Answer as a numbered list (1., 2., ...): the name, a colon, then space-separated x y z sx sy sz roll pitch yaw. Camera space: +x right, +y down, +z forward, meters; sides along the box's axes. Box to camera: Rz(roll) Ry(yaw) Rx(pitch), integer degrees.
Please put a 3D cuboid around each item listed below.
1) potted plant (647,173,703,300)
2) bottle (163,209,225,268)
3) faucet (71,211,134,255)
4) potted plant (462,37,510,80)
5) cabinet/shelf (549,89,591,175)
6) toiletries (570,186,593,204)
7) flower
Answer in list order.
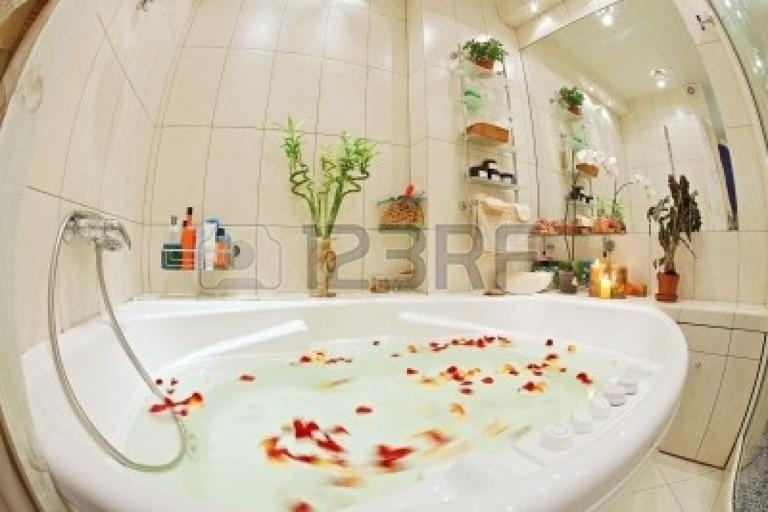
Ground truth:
1. potted plant: 1.398 -0.089 2.123 0.249 0.603 0.241 2 4 22
2. bottle: -0.892 -0.073 2.008 0.275 0.271 0.147 -1 1 -25
3. faucet: -0.674 -0.066 1.019 0.102 0.064 0.051 3 -13 -42
4. potted plant: 0.626 -1.203 2.611 0.219 0.168 0.218 -4 13 -24
5. cabinet/shelf: 1.209 -0.812 2.784 0.166 0.493 0.183 3 17 -15
6. toiletries: 1.241 -0.392 2.735 0.075 0.127 0.127 2 2 -32
7. flower: -0.324 -0.422 2.474 0.632 0.712 0.583 -5 10 -31
